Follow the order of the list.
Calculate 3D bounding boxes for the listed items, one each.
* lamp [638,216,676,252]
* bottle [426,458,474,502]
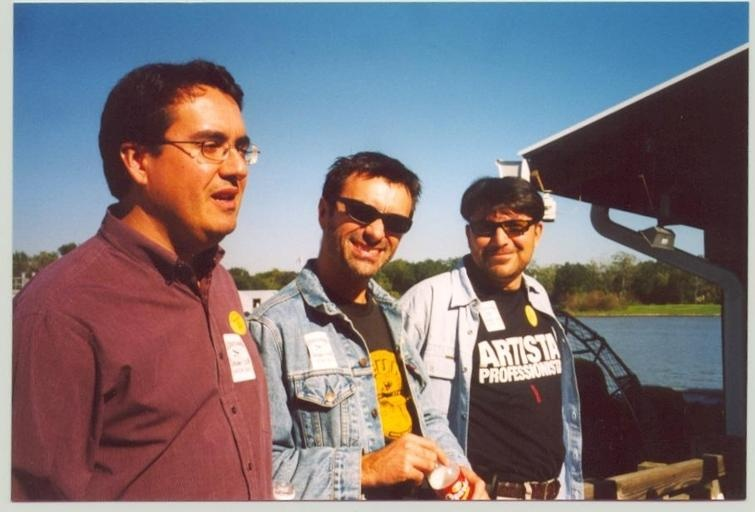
[{"bbox_3d":[2.051,-0.134,4.266,0.178,0.234,0.162,21,5,14],"label":"lamp"},{"bbox_3d":[0.506,1.533,4.052,0.359,0.127,0.129,50,1,-34],"label":"bottle"}]
